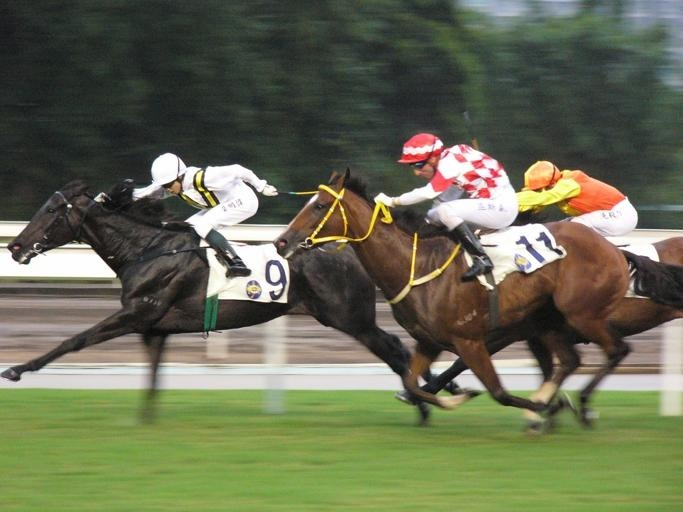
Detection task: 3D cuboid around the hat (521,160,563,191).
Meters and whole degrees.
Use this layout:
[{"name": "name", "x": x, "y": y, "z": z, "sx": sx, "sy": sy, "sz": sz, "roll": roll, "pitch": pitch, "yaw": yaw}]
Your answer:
[{"name": "hat", "x": 2.049, "y": -0.840, "z": 14.773, "sx": 0.465, "sy": 0.214, "sz": 0.273, "roll": -24, "pitch": 19, "yaw": -1}]

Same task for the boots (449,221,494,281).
[{"name": "boots", "x": 1.269, "y": -0.057, "z": 13.975, "sx": 0.399, "sy": 0.562, "sz": 0.190, "roll": 0, "pitch": 7, "yaw": 3}]

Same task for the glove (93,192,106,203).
[{"name": "glove", "x": -2.454, "y": -0.601, "z": 14.653, "sx": 0.128, "sy": 0.045, "sz": 0.113, "roll": 2, "pitch": 46, "yaw": -1}]

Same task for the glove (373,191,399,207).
[{"name": "glove", "x": 0.416, "y": -0.563, "z": 14.079, "sx": 0.233, "sy": 0.092, "sz": 0.074, "roll": 21, "pitch": 13, "yaw": 12}]

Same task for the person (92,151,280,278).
[{"name": "person", "x": -1.380, "y": -0.445, "z": 14.960, "sx": 2.211, "sy": 1.079, "sz": 0.722, "roll": -1, "pitch": -3, "yaw": 24}]

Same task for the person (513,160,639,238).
[{"name": "person", "x": 2.655, "y": -0.716, "z": 15.064, "sx": 1.368, "sy": 0.483, "sz": 0.864, "roll": 20, "pitch": 52, "yaw": 34}]

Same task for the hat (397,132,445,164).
[{"name": "hat", "x": 0.755, "y": -1.077, "z": 14.215, "sx": 0.535, "sy": 0.171, "sz": 0.303, "roll": -6, "pitch": 12, "yaw": -9}]

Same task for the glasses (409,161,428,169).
[{"name": "glasses", "x": 0.770, "y": -0.912, "z": 14.213, "sx": 0.123, "sy": 0.032, "sz": 0.106, "roll": 3, "pitch": 37, "yaw": 35}]
